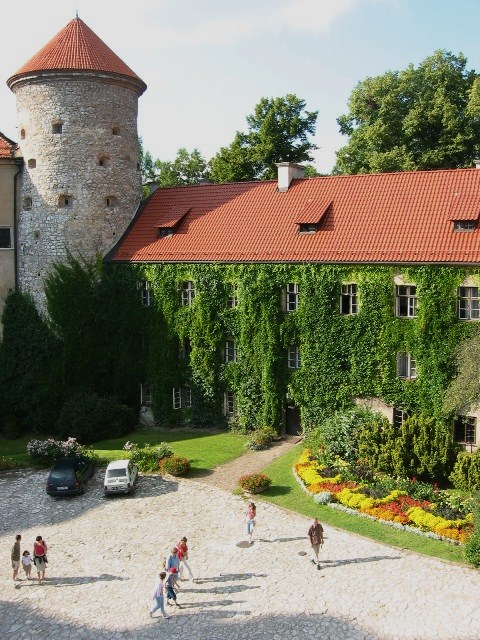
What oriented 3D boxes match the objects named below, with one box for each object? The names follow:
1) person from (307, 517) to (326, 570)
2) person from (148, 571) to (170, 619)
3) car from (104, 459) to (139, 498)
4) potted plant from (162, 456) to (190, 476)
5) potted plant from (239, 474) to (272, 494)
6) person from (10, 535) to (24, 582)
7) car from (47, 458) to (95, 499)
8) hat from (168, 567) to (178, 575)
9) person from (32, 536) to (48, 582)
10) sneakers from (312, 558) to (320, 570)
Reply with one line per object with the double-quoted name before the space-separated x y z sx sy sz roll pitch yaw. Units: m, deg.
"person" 2.523 6.836 35.776 0.413 1.590 1.314 -1 13 5
"person" -2.482 7.875 32.978 0.551 1.477 1.057 -4 13 -5
"car" -4.674 5.882 42.539 1.117 1.139 1.659 -2 13 2
"potted plant" -2.588 5.644 44.241 0.870 0.717 0.778 -2 1 -15
"potted plant" 0.596 5.987 41.842 0.839 0.589 0.815 -2 -4 28
"person" -7.269 7.339 35.411 0.366 1.423 1.007 -6 14 -13
"car" -6.687 5.931 42.854 1.287 1.172 2.418 -1 14 7
"hat" -2.017 7.369 33.255 0.267 0.108 0.205 -3 5 -17
"person" -6.408 7.315 35.042 0.441 1.449 0.467 -3 7 -15
"sneakers" 2.469 7.636 35.498 0.119 0.261 0.369 9 11 -19
